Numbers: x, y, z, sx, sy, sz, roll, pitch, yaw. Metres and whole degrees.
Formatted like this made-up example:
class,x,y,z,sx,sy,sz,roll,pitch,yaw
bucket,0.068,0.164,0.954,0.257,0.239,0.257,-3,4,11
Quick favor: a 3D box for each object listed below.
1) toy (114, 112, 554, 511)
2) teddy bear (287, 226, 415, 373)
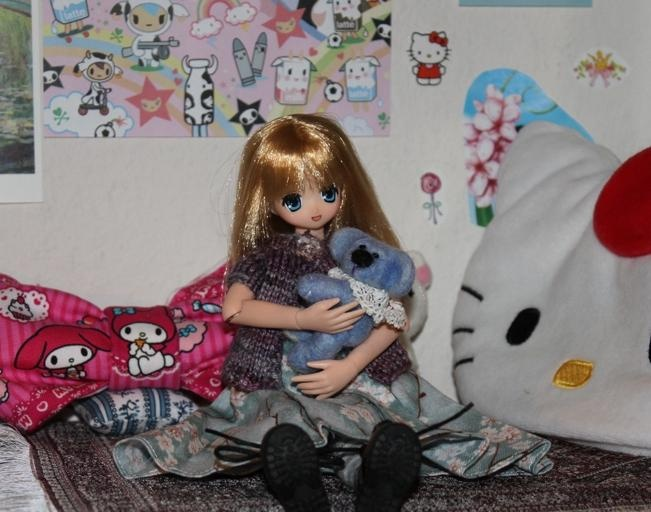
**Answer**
class,x,y,z,sx,sy,sz,roll,pitch,yaw
toy,-0.045,0.119,1.922,1.037,0.875,0.727,-7,10,-32
teddy bear,0.070,0.126,1.958,0.334,0.359,0.264,0,33,-8
